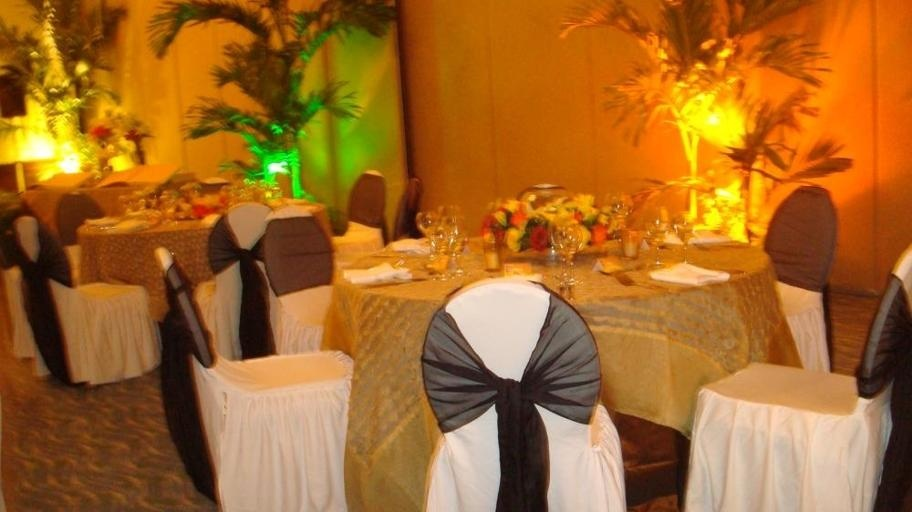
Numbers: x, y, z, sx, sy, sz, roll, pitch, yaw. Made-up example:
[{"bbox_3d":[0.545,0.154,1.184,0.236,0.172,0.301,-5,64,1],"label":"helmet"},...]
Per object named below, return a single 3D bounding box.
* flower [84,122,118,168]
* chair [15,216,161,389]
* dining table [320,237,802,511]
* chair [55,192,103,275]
[{"bbox_3d":[-4.932,-1.512,8.819,0.217,0.511,0.231,37,-16,15],"label":"flower"},{"bbox_3d":[-3.603,0.508,6.340,1.180,1.466,1.165,-16,26,-42],"label":"chair"},{"bbox_3d":[0.871,0.724,4.140,2.298,0.900,2.246,-2,7,1],"label":"dining table"},{"bbox_3d":[-4.296,-0.315,7.303,0.703,0.981,0.341,7,11,32],"label":"chair"}]
